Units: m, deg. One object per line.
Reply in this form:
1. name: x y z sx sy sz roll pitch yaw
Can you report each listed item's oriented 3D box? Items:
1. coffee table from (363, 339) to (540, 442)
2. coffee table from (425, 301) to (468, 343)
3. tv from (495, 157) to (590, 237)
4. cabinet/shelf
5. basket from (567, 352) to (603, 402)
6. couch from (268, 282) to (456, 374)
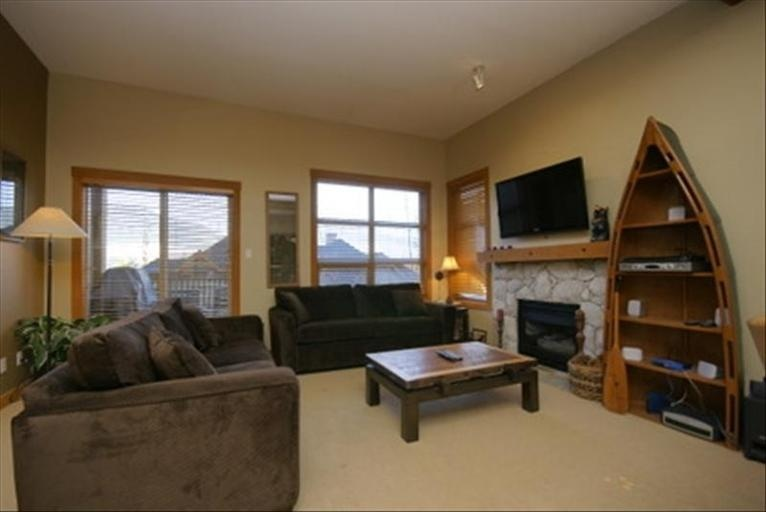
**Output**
1. coffee table: 0.627 1.253 5.012 1.480 0.793 0.745 -3 0 -18
2. coffee table: 0.789 0.832 6.766 0.523 0.510 0.511 2 -4 -40
3. tv: 1.815 -0.657 6.111 0.131 0.814 1.195 -4 0 -33
4. cabinet/shelf: 2.522 -0.041 4.857 0.842 2.313 0.260 2 17 34
5. basket: 2.027 1.219 5.260 0.314 0.413 0.492 -3 0 18
6. couch: -0.278 0.855 6.618 2.234 0.956 0.927 -1 -1 -22
